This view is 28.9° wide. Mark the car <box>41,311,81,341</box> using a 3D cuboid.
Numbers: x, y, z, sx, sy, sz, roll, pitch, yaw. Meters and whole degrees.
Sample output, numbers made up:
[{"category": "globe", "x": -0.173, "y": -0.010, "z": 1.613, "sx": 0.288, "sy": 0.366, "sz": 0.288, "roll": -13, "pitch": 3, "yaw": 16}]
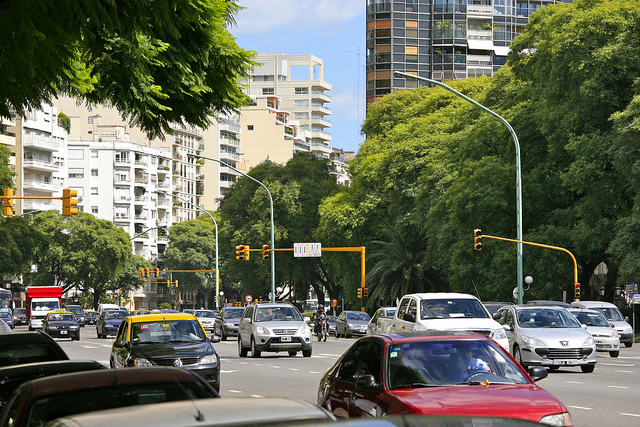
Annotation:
[{"category": "car", "x": -14.705, "y": 6.265, "z": 70.118, "sx": 1.321, "sy": 1.038, "sz": 2.865, "roll": 1, "pitch": -8, "yaw": -20}]

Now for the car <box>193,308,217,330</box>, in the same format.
[{"category": "car", "x": -7.025, "y": 6.335, "z": 76.113, "sx": 0.890, "sy": 0.839, "sz": 1.966, "roll": 1, "pitch": -9, "yaw": -13}]

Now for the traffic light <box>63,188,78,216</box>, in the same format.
[{"category": "traffic light", "x": -11.601, "y": -0.556, "z": 57.299, "sx": 0.581, "sy": 1.336, "sz": 2.295, "roll": -1, "pitch": -9, "yaw": -12}]

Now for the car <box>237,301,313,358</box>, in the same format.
[{"category": "car", "x": -1.900, "y": 4.838, "z": 52.211, "sx": 2.576, "sy": 2.401, "sz": 4.954, "roll": 0, "pitch": -5, "yaw": -14}]

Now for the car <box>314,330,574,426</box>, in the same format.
[{"category": "car", "x": 2.808, "y": 4.066, "z": 30.605, "sx": 5.614, "sy": 2.458, "sz": 1.910, "roll": -5, "pitch": -9, "yaw": 9}]

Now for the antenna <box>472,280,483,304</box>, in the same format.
[{"category": "antenna", "x": 7.924, "y": 3.885, "z": 62.719, "sx": 0.058, "sy": 2.209, "sz": 0.089, "roll": -8, "pitch": 35, "yaw": 15}]

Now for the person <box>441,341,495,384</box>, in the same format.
[{"category": "person", "x": 3.536, "y": 3.681, "z": 30.740, "sx": 0.961, "sy": 1.001, "sz": 0.414, "roll": -1, "pitch": -15, "yaw": -10}]

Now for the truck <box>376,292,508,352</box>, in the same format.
[{"category": "truck", "x": 3.840, "y": 3.729, "z": 43.257, "sx": 1.948, "sy": 1.573, "sz": 3.962, "roll": 2, "pitch": -9, "yaw": -17}]

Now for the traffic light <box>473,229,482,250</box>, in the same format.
[{"category": "traffic light", "x": 7.863, "y": 1.276, "z": 62.354, "sx": 0.314, "sy": 0.908, "sz": 0.925, "roll": -4, "pitch": -9, "yaw": 6}]

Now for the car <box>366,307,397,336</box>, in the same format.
[{"category": "car", "x": 2.369, "y": 4.663, "z": 54.944, "sx": 1.337, "sy": 1.256, "sz": 2.324, "roll": 4, "pitch": -12, "yaw": -24}]

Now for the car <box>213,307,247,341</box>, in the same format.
[{"category": "car", "x": -5.004, "y": 5.915, "z": 67.505, "sx": 1.204, "sy": 1.016, "sz": 2.694, "roll": 1, "pitch": -7, "yaw": -13}]

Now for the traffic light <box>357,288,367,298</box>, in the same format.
[{"category": "traffic light", "x": 2.656, "y": 4.936, "z": 77.540, "sx": 0.416, "sy": 0.626, "sz": 0.968, "roll": -1, "pitch": -9, "yaw": -16}]

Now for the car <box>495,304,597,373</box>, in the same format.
[{"category": "car", "x": 7.953, "y": 4.517, "z": 45.520, "sx": 2.703, "sy": 2.400, "sz": 5.708, "roll": 1, "pitch": -3, "yaw": -9}]

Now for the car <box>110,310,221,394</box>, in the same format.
[{"category": "car", "x": -4.850, "y": 4.159, "z": 38.918, "sx": 2.117, "sy": 1.730, "sz": 3.511, "roll": 2, "pitch": -12, "yaw": -18}]

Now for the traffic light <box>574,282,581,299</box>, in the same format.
[{"category": "traffic light", "x": 13.171, "y": 3.920, "z": 63.983, "sx": 0.265, "sy": 0.788, "sz": 1.389, "roll": -5, "pitch": -9, "yaw": 10}]

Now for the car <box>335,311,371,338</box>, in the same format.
[{"category": "car", "x": 1.915, "y": 6.316, "z": 71.499, "sx": 1.375, "sy": 1.004, "sz": 2.287, "roll": 2, "pitch": -9, "yaw": -19}]

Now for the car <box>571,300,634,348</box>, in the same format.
[{"category": "car", "x": 13.795, "y": 5.119, "z": 58.961, "sx": 1.807, "sy": 1.574, "sz": 3.176, "roll": 0, "pitch": -9, "yaw": 1}]
